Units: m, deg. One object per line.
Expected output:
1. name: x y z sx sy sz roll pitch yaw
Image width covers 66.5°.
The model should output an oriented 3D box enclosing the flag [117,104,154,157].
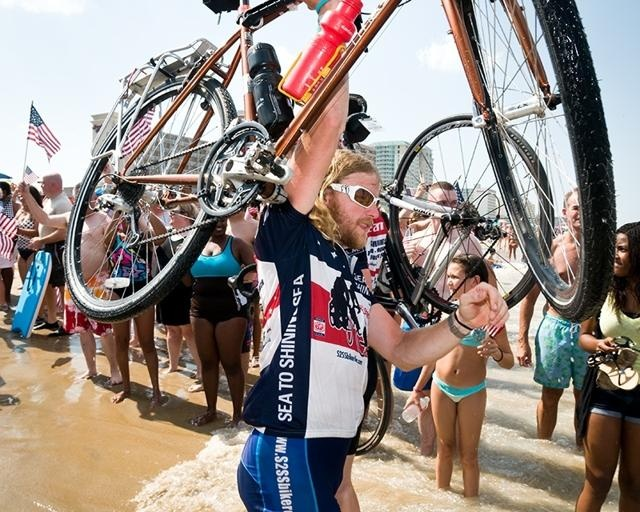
1. flag: -1.479 -1.034 4.023 0.082 0.200 0.625 -33 23 23

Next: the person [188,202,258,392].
1. person: -0.996 0.594 5.554 0.645 2.165 0.630 -14 2 5

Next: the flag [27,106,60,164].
1. flag: -4.660 -2.097 8.231 0.456 0.960 0.729 0 5 -29

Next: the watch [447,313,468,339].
1. watch: 0.620 0.325 2.207 0.040 0.104 0.101 -36 -38 9
